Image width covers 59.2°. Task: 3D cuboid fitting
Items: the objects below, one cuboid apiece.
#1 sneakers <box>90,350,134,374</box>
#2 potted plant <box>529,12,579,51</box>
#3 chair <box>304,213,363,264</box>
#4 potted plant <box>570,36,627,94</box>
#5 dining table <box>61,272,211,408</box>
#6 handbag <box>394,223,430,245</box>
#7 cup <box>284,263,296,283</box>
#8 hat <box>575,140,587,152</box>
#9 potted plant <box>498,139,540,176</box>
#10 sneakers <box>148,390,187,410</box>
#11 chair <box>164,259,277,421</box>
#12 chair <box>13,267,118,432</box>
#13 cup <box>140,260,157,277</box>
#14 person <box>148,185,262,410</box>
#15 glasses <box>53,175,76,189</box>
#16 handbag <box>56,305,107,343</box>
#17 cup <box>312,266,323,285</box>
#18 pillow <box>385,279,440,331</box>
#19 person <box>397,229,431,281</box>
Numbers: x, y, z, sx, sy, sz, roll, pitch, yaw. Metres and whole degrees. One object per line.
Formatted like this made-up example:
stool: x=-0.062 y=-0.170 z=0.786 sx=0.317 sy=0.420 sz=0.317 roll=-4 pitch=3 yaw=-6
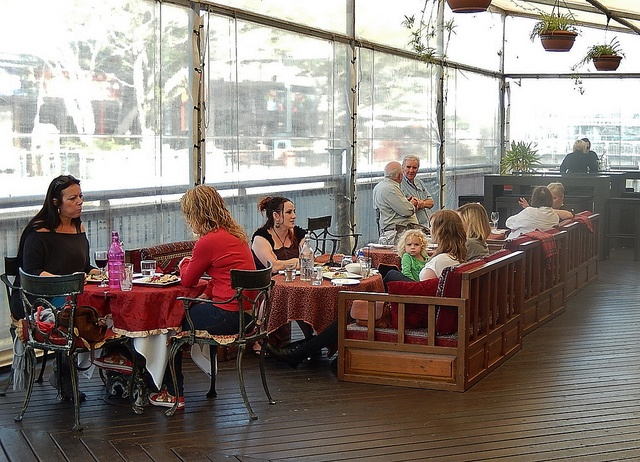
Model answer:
sneakers: x=-1.596 y=1.022 z=4.435 sx=0.368 sy=0.151 sz=0.139 roll=14 pitch=-5 yaw=5
potted plant: x=3.643 y=-3.104 z=8.694 sx=0.580 sy=0.635 sz=0.881 roll=4 pitch=8 yaw=23
chair: x=0.094 y=0.270 z=7.175 sx=0.517 sy=0.838 sz=0.589 roll=8 pitch=8 yaw=27
potted plant: x=5.151 y=-3.157 z=10.376 sx=0.842 sy=0.492 sz=1.098 roll=1 pitch=0 yaw=-12
dining table: x=-1.349 y=0.755 z=4.092 sx=0.758 sy=0.590 sz=0.776 roll=0 pitch=-3 yaw=28
handbag: x=1.178 y=-0.018 z=7.598 sx=0.351 sy=0.380 sz=0.107 roll=3 pitch=3 yaw=1
cup: x=-0.262 y=0.370 z=5.055 sx=0.119 sy=0.149 sz=0.123 roll=1 pitch=-6 yaw=0
hat: x=5.343 y=-1.718 z=11.589 sx=0.204 sy=0.260 sz=0.261 roll=3 pitch=10 yaw=14
potted plant: x=4.402 y=-1.545 z=12.501 sx=1.022 sy=0.727 sz=1.079 roll=-1 pitch=-1 yaw=-31
sneakers: x=-1.177 y=1.290 z=4.315 sx=0.254 sy=0.121 sz=0.120 roll=15 pitch=-2 yaw=10
chair: x=-0.738 y=0.851 z=4.451 sx=0.711 sy=1.095 sz=0.728 roll=0 pitch=-2 yaw=13
chair: x=-1.859 y=0.849 z=4.250 sx=0.681 sy=1.032 sz=0.762 roll=0 pitch=-2 yaw=34
cup: x=-1.393 y=0.308 z=4.586 sx=0.110 sy=0.126 sz=0.112 roll=2 pitch=8 yaw=0
person: x=-0.927 y=0.522 z=4.535 sx=0.930 sy=1.751 sz=0.628 roll=-1 pitch=0 yaw=16
glasses: x=-2.059 y=-0.389 z=4.528 sx=0.228 sy=0.095 sz=0.178 roll=4 pitch=8 yaw=25
handbag: x=-1.693 y=0.662 z=4.035 sx=0.273 sy=0.129 sz=0.253 roll=21 pitch=-9 yaw=-13
cup: x=-0.036 y=0.405 z=5.083 sx=0.132 sy=0.226 sz=0.139 roll=0 pitch=3 yaw=0
pillow: x=0.785 y=0.625 z=4.718 sx=0.395 sy=0.394 sz=0.136 roll=-3 pitch=17 yaw=-6
person: x=0.969 y=0.359 z=5.675 sx=0.337 sy=0.782 sz=0.305 roll=-4 pitch=5 yaw=3
